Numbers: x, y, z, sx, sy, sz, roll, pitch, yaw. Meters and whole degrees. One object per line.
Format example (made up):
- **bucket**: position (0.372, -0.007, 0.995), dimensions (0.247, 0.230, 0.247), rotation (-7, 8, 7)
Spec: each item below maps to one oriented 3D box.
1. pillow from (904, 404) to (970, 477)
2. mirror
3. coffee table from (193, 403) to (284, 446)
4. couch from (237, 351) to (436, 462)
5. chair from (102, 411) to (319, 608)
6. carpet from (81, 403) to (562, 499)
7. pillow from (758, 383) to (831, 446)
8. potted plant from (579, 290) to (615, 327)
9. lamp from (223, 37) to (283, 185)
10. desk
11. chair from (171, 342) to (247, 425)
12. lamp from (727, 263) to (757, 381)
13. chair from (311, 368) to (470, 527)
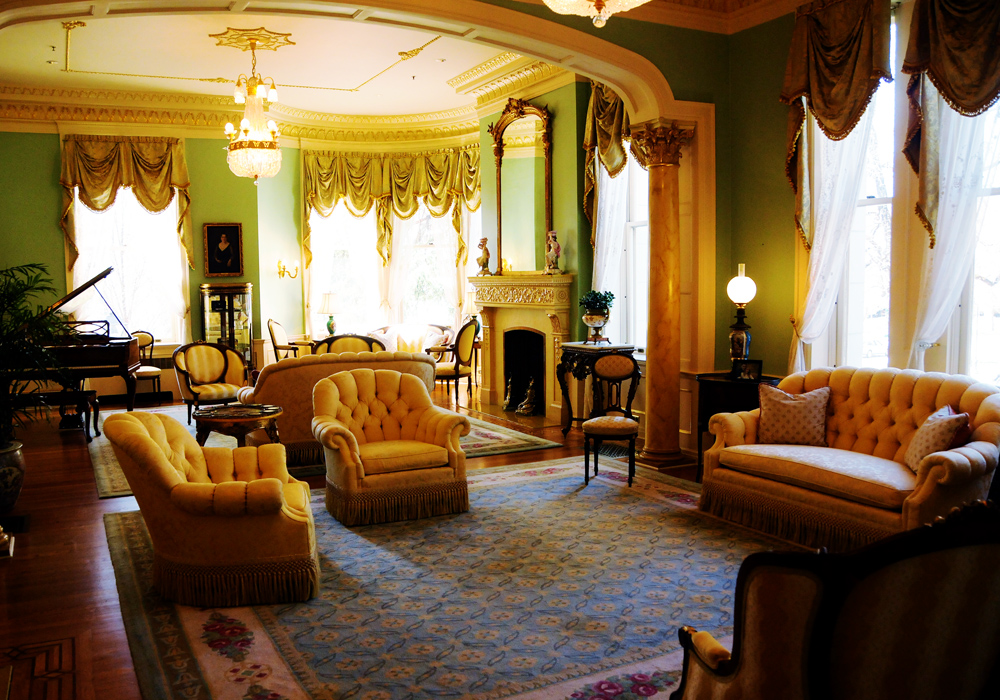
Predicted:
- **pillow**: position (3.180, 0.689, 5.533), dimensions (0.303, 0.512, 0.563), rotation (8, 2, 8)
- **mirror**: position (0.338, -2.399, 10.372), dimensions (0.368, 2.080, 1.532), rotation (-5, 13, -22)
- **coffee table**: position (-2.407, 0.635, 6.952), dimensions (0.539, 0.448, 0.559), rotation (-4, 8, -31)
- **couch**: position (-1.851, 0.530, 8.505), dimensions (2.100, 1.467, 1.152), rotation (-1, 21, -33)
- **chair**: position (-1.858, 1.087, 5.381), dimensions (1.378, 1.278, 1.252), rotation (-2, 14, -14)
- **carpet**: position (-1.898, 1.097, 9.443), dimensions (3.736, 0.039, 3.604), rotation (-9, -17, 21)
- **pillow**: position (2.465, 0.558, 6.258), dimensions (0.435, 0.438, 0.174), rotation (2, -11, 20)
- **potted plant**: position (1.148, -0.489, 8.860), dimensions (0.473, 0.486, 0.402), rotation (0, -1, 5)
- **lamp**: position (-2.906, -2.867, 8.944), dimensions (0.650, 1.622, 0.654), rotation (-3, 8, -30)
- **desk**: position (0.969, 0.401, 8.865), dimensions (0.732, 0.848, 0.664), rotation (-5, 3, 5)
- **chair**: position (-3.804, 0.413, 9.896), dimensions (0.910, 1.096, 0.758), rotation (-3, 2, -37)
- **lamp**: position (2.379, -0.329, 7.370), dimensions (0.268, 1.021, 0.871), rotation (4, 13, 19)
- **chair**: position (-1.028, 0.791, 6.683), dimensions (1.313, 1.229, 1.199), rotation (-2, 2, -32)
